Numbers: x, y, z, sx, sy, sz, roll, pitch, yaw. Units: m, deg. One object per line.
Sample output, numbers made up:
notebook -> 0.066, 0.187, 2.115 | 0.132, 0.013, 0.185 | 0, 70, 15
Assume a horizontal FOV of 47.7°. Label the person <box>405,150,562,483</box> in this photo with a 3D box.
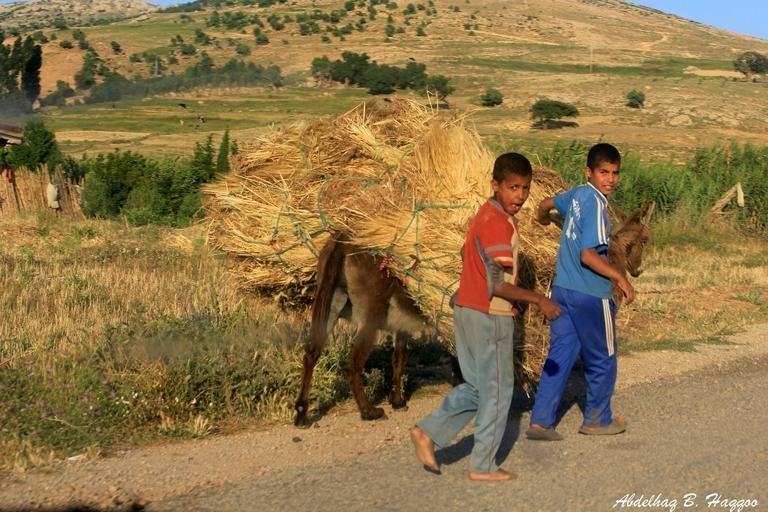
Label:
person -> 1.040, 0.647, 8.863 | 1.068, 3.371, 0.957 | 9, 18, 20
